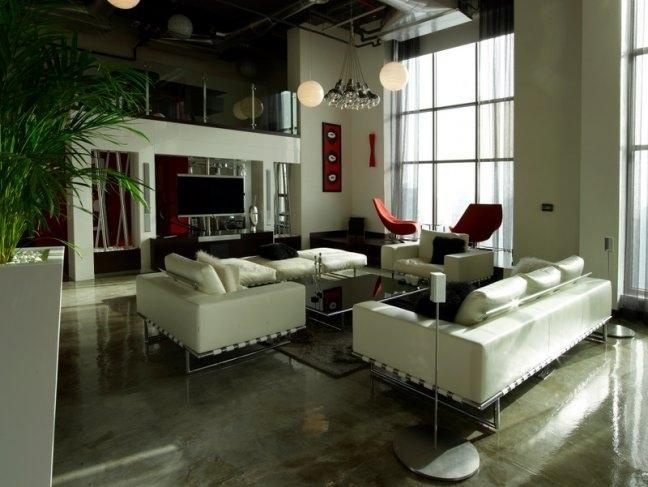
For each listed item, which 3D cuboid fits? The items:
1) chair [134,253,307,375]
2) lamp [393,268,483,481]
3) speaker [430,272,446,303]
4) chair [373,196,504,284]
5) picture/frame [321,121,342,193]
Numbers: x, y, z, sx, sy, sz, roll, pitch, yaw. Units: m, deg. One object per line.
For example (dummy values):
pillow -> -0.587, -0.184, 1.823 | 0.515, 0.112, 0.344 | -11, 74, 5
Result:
chair -> -0.963, 0.580, 5.018 | 1.063, 0.924, 1.448 | -6, 9, -39
lamp -> 0.788, 0.872, 3.595 | 0.606, 1.312, 0.769 | -3, 14, -11
speaker -> 0.807, 0.325, 3.553 | 0.092, 0.234, 0.104 | 1, 14, 4
chair -> 1.852, 0.080, 7.715 | 1.331, 1.640, 1.458 | 0, 3, -39
picture/frame -> 0.163, -1.832, 10.778 | 0.238, 1.454, 0.665 | 11, 18, 40
